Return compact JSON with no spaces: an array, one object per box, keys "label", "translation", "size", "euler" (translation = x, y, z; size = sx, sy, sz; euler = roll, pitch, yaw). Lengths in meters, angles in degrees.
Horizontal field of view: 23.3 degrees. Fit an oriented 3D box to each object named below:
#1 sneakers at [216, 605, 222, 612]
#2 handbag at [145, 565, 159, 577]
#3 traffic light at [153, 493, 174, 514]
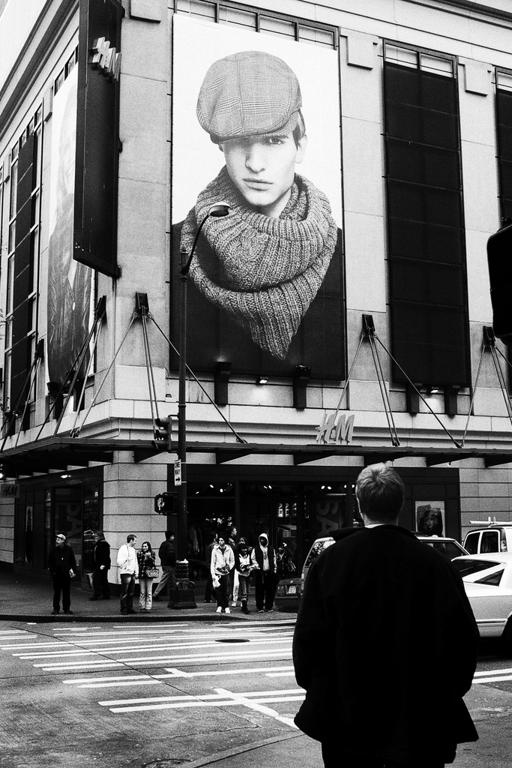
[{"label":"sneakers","translation":[-0.715,4.225,23.684],"size":[0.047,0.100,0.186],"euler":[5,6,-14]},{"label":"handbag","translation":[-2.037,3.614,24.223],"size":[0.235,0.236,0.130],"euler":[5,-5,-42]},{"label":"traffic light","translation":[-1.862,2.387,25.332],"size":[0.285,0.565,0.466],"euler":[0,-2,-22]}]
